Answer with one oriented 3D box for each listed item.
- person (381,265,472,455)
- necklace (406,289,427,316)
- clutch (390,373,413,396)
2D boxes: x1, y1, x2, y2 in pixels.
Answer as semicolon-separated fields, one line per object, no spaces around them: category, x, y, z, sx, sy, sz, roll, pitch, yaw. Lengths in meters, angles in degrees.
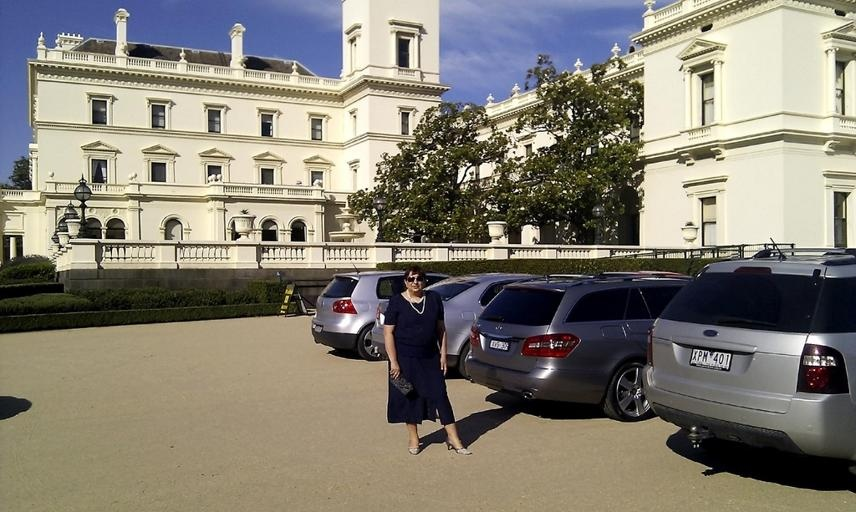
person;-0.184;2.145;15.433;1.402;3.720;0.917;-1;11;-4
necklace;-0.233;0.984;15.422;0.281;0.128;0.487;-2;25;-25
clutch;-0.545;2.646;15.287;0.441;0.332;0.141;37;-18;-1
